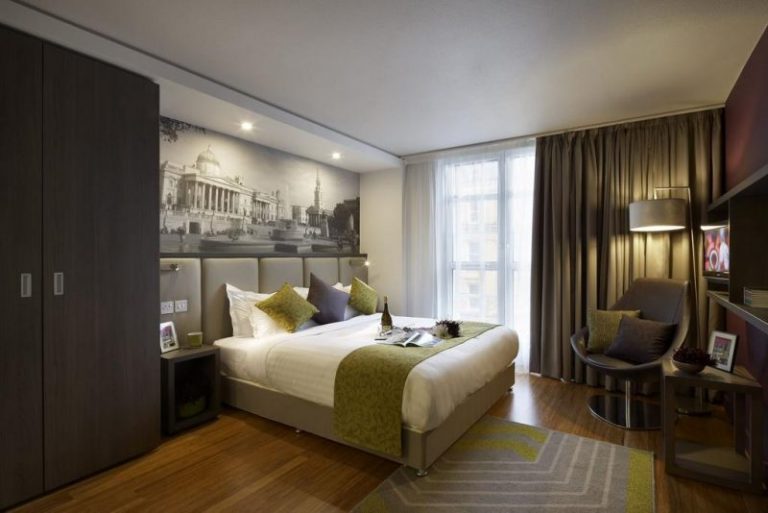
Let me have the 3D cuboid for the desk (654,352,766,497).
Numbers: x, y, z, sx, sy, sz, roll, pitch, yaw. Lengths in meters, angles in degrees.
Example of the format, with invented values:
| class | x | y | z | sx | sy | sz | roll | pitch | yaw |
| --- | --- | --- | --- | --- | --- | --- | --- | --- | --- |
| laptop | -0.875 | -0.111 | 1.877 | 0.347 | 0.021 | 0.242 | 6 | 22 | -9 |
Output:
| class | x | y | z | sx | sy | sz | roll | pitch | yaw |
| --- | --- | --- | --- | --- | --- | --- | --- | --- | --- |
| desk | 2.887 | 1.469 | 4.579 | 0.825 | 1.070 | 1.128 | -2 | 0 | 34 |

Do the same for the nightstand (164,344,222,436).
| class | x | y | z | sx | sy | sz | roll | pitch | yaw |
| --- | --- | --- | --- | --- | --- | --- | --- | --- | --- |
| nightstand | -1.916 | 1.302 | 4.977 | 0.565 | 0.772 | 0.349 | -3 | 3 | -32 |

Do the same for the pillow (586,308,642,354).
| class | x | y | z | sx | sy | sz | roll | pitch | yaw |
| --- | --- | --- | --- | --- | --- | --- | --- | --- | --- |
| pillow | 2.391 | 0.797 | 5.254 | 0.412 | 0.412 | 0.151 | 6 | -22 | 31 |

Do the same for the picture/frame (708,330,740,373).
| class | x | y | z | sx | sy | sz | roll | pitch | yaw |
| --- | --- | --- | --- | --- | --- | --- | --- | --- | --- |
| picture/frame | 2.981 | 0.848 | 4.447 | 0.043 | 0.431 | 0.323 | 11 | -7 | -8 |

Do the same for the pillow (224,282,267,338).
| class | x | y | z | sx | sy | sz | roll | pitch | yaw |
| --- | --- | --- | --- | --- | --- | --- | --- | --- | --- |
| pillow | -1.582 | 0.605 | 5.523 | 0.488 | 0.509 | 0.148 | 13 | -27 | -27 |

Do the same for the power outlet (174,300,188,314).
| class | x | y | z | sx | sy | sz | roll | pitch | yaw |
| --- | --- | --- | --- | --- | --- | --- | --- | --- | --- |
| power outlet | -2.109 | 0.520 | 5.194 | 0.019 | 0.132 | 0.137 | 3 | 3 | 37 |

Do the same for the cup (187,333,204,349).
| class | x | y | z | sx | sy | sz | roll | pitch | yaw |
| --- | --- | --- | --- | --- | --- | --- | --- | --- | --- |
| cup | -1.904 | 0.857 | 5.115 | 0.128 | 0.140 | 0.162 | 1 | -5 | -2 |

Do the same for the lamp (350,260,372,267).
| class | x | y | z | sx | sy | sz | roll | pitch | yaw |
| --- | --- | --- | --- | --- | --- | --- | --- | --- | --- |
| lamp | -0.366 | 0.104 | 7.295 | 0.072 | 0.113 | 0.431 | 0 | 2 | 30 |

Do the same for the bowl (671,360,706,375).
| class | x | y | z | sx | sy | sz | roll | pitch | yaw |
| --- | --- | --- | --- | --- | --- | --- | --- | --- | --- |
| bowl | 2.599 | 0.958 | 4.336 | 0.149 | 0.058 | 0.152 | 1 | -4 | 0 |

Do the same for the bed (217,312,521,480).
| class | x | y | z | sx | sy | sz | roll | pitch | yaw |
| --- | --- | --- | --- | --- | --- | --- | --- | --- | --- |
| bed | -0.283 | 1.205 | 4.726 | 1.557 | 0.453 | 1.663 | 0 | 0 | 32 |
